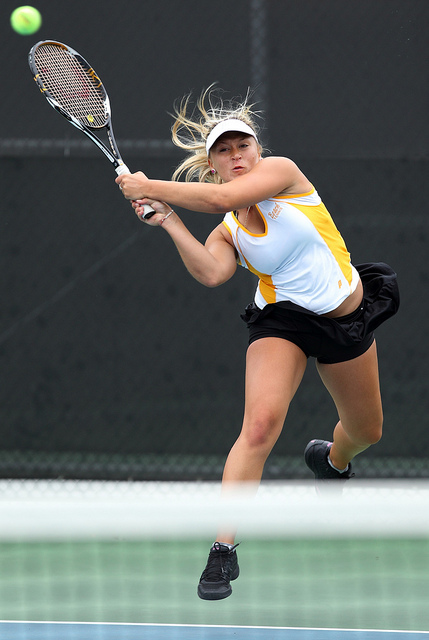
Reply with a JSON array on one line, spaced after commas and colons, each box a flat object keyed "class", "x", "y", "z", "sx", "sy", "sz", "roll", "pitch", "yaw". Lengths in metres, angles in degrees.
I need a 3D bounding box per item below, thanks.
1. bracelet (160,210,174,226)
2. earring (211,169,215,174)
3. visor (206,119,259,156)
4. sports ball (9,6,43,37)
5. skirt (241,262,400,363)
[{"class": "bracelet", "x": -0.143, "y": -0.293, "z": 1.867, "sx": 0.014, "sy": 0.054, "sz": 0.008, "roll": 50, "pitch": -5, "yaw": -27}, {"class": "earring", "x": -0.004, "y": -0.473, "z": 2.065, "sx": 0.018, "sy": 0.015, "sz": 0.004, "roll": -9, "pitch": 18, "yaw": -33}, {"class": "visor", "x": 0.035, "y": -0.548, "z": 1.895, "sx": 0.155, "sy": 0.084, "sz": 0.148, "roll": -2, "pitch": -2, "yaw": 13}, {"class": "sports ball", "x": -0.792, "y": -1.268, "z": 2.744, "sx": 0.107, "sy": 0.100, "sz": 0.081, "roll": 37, "pitch": -24, "yaw": -20}, {"class": "skirt", "x": 0.325, "y": -0.038, "z": 2.045, "sx": 0.415, "sy": 0.176, "sz": 0.309, "roll": -1, "pitch": -33, "yaw": -10}]
